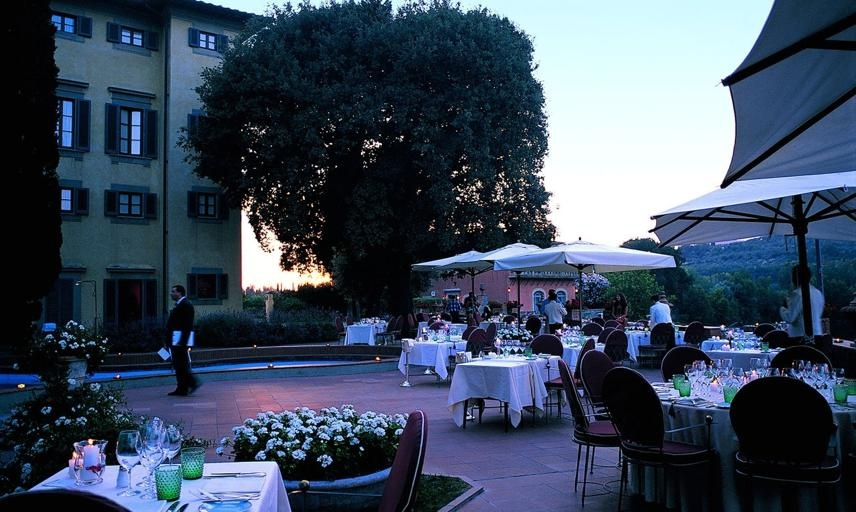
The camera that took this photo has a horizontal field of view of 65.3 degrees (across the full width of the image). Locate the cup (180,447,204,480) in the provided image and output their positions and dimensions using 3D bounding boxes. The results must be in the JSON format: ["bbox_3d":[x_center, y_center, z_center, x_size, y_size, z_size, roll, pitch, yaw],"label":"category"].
[{"bbox_3d":[-2.594,2.304,7.402,0.313,0.317,0.290,0,-5,0],"label":"cup"}]

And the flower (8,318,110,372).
[{"bbox_3d":[-7.604,1.914,13.979,1.581,0.973,1.568,3,22,-8],"label":"flower"}]

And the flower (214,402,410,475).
[{"bbox_3d":[-1.677,2.661,9.634,1.401,0.650,1.658,0,1,0],"label":"flower"}]

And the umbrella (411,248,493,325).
[{"bbox_3d":[1.373,0.688,22.776,2.607,2.264,2.566,8,-13,-34],"label":"umbrella"}]
